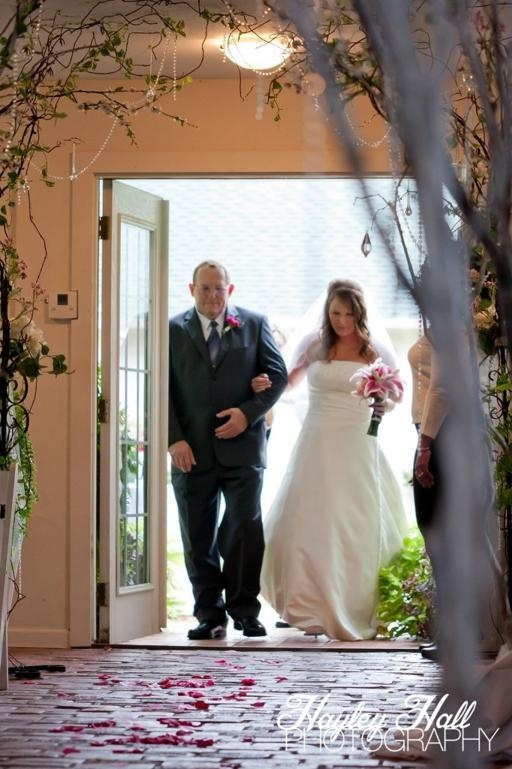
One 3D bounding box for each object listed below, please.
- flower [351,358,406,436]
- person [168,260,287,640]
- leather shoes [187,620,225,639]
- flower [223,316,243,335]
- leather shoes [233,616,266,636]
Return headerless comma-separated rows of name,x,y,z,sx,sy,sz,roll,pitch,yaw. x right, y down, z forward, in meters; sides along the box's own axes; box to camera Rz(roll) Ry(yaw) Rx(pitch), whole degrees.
flower,0.698,0.064,3.928,0.277,0.429,0.274,-2,-13,7
person,-0.170,0.348,4.047,0.711,2.195,0.376,-2,-13,5
leather shoes,-0.271,1.384,3.874,0.239,0.096,0.084,5,-2,-24
flower,-0.145,-0.364,4.096,0.107,0.105,0.106,6,-10,-33
leather shoes,-0.037,1.380,3.943,0.097,0.108,0.281,4,-12,-20
